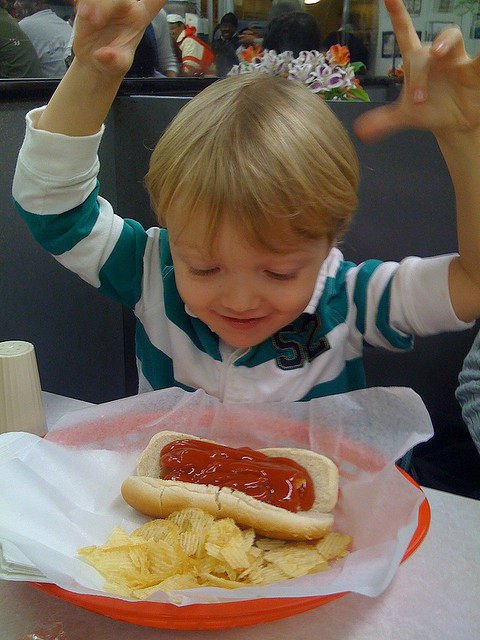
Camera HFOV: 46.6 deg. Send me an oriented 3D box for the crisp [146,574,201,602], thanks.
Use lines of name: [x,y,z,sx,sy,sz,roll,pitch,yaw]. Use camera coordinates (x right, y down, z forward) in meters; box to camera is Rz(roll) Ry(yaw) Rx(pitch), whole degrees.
crisp: [-0.078,0.304,0.638,0.047,0.013,0.039,11,0,-1]

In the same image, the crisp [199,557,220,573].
crisp: [-0.039,0.310,0.706,0.018,0.007,0.026,0,13,14]

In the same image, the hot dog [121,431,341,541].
hot dog: [-0.016,0.252,0.851,0.259,0.068,0.136,7,16,11]

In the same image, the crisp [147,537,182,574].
crisp: [-0.097,0.297,0.692,0.035,0.032,0.008,18,-25,19]

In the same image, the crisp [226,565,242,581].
crisp: [-0.007,0.312,0.688,0.026,0.009,0.041,-1,-4,2]

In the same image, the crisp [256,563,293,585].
crisp: [0.039,0.310,0.679,0.032,0.008,0.029,4,16,10]

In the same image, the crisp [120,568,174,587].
crisp: [-0.111,0.313,0.675,0.047,0.013,0.028,14,-3,13]

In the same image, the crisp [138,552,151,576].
crisp: [-0.117,0.300,0.686,0.006,0.019,0.020,-6,-7,19]

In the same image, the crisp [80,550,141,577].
crisp: [-0.155,0.288,0.669,0.069,0.026,0.055,-1,2,-5]

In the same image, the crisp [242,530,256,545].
crisp: [0.013,0.298,0.767,0.018,0.005,0.015,13,56,39]

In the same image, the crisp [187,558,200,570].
crisp: [-0.058,0.310,0.710,0.012,0.015,0.004,-1,19,19]

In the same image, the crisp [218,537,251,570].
crisp: [-0.006,0.292,0.699,0.023,0.010,0.035,0,27,-28]

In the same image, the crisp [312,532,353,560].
crisp: [0.119,0.293,0.719,0.037,0.009,0.052,-2,6,9]
